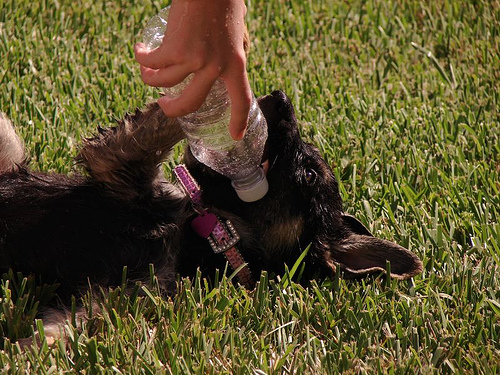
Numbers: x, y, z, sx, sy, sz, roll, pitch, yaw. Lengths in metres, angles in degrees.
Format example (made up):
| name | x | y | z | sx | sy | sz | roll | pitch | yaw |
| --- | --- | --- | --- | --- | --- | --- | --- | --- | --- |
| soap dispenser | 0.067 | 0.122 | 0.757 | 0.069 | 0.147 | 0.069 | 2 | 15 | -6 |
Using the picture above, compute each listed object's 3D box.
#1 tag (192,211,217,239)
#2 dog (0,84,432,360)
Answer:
| name | x | y | z | sx | sy | sz | roll | pitch | yaw |
| --- | --- | --- | --- | --- | --- | --- | --- | --- | --- |
| tag | -0.254 | 0.199 | 3.465 | 0.127 | 0.014 | 0.138 | -17 | 79 | 32 |
| dog | 0.204 | 0.031 | 3.907 | 2.988 | 1.516 | 1.022 | 1 | 25 | -15 |
